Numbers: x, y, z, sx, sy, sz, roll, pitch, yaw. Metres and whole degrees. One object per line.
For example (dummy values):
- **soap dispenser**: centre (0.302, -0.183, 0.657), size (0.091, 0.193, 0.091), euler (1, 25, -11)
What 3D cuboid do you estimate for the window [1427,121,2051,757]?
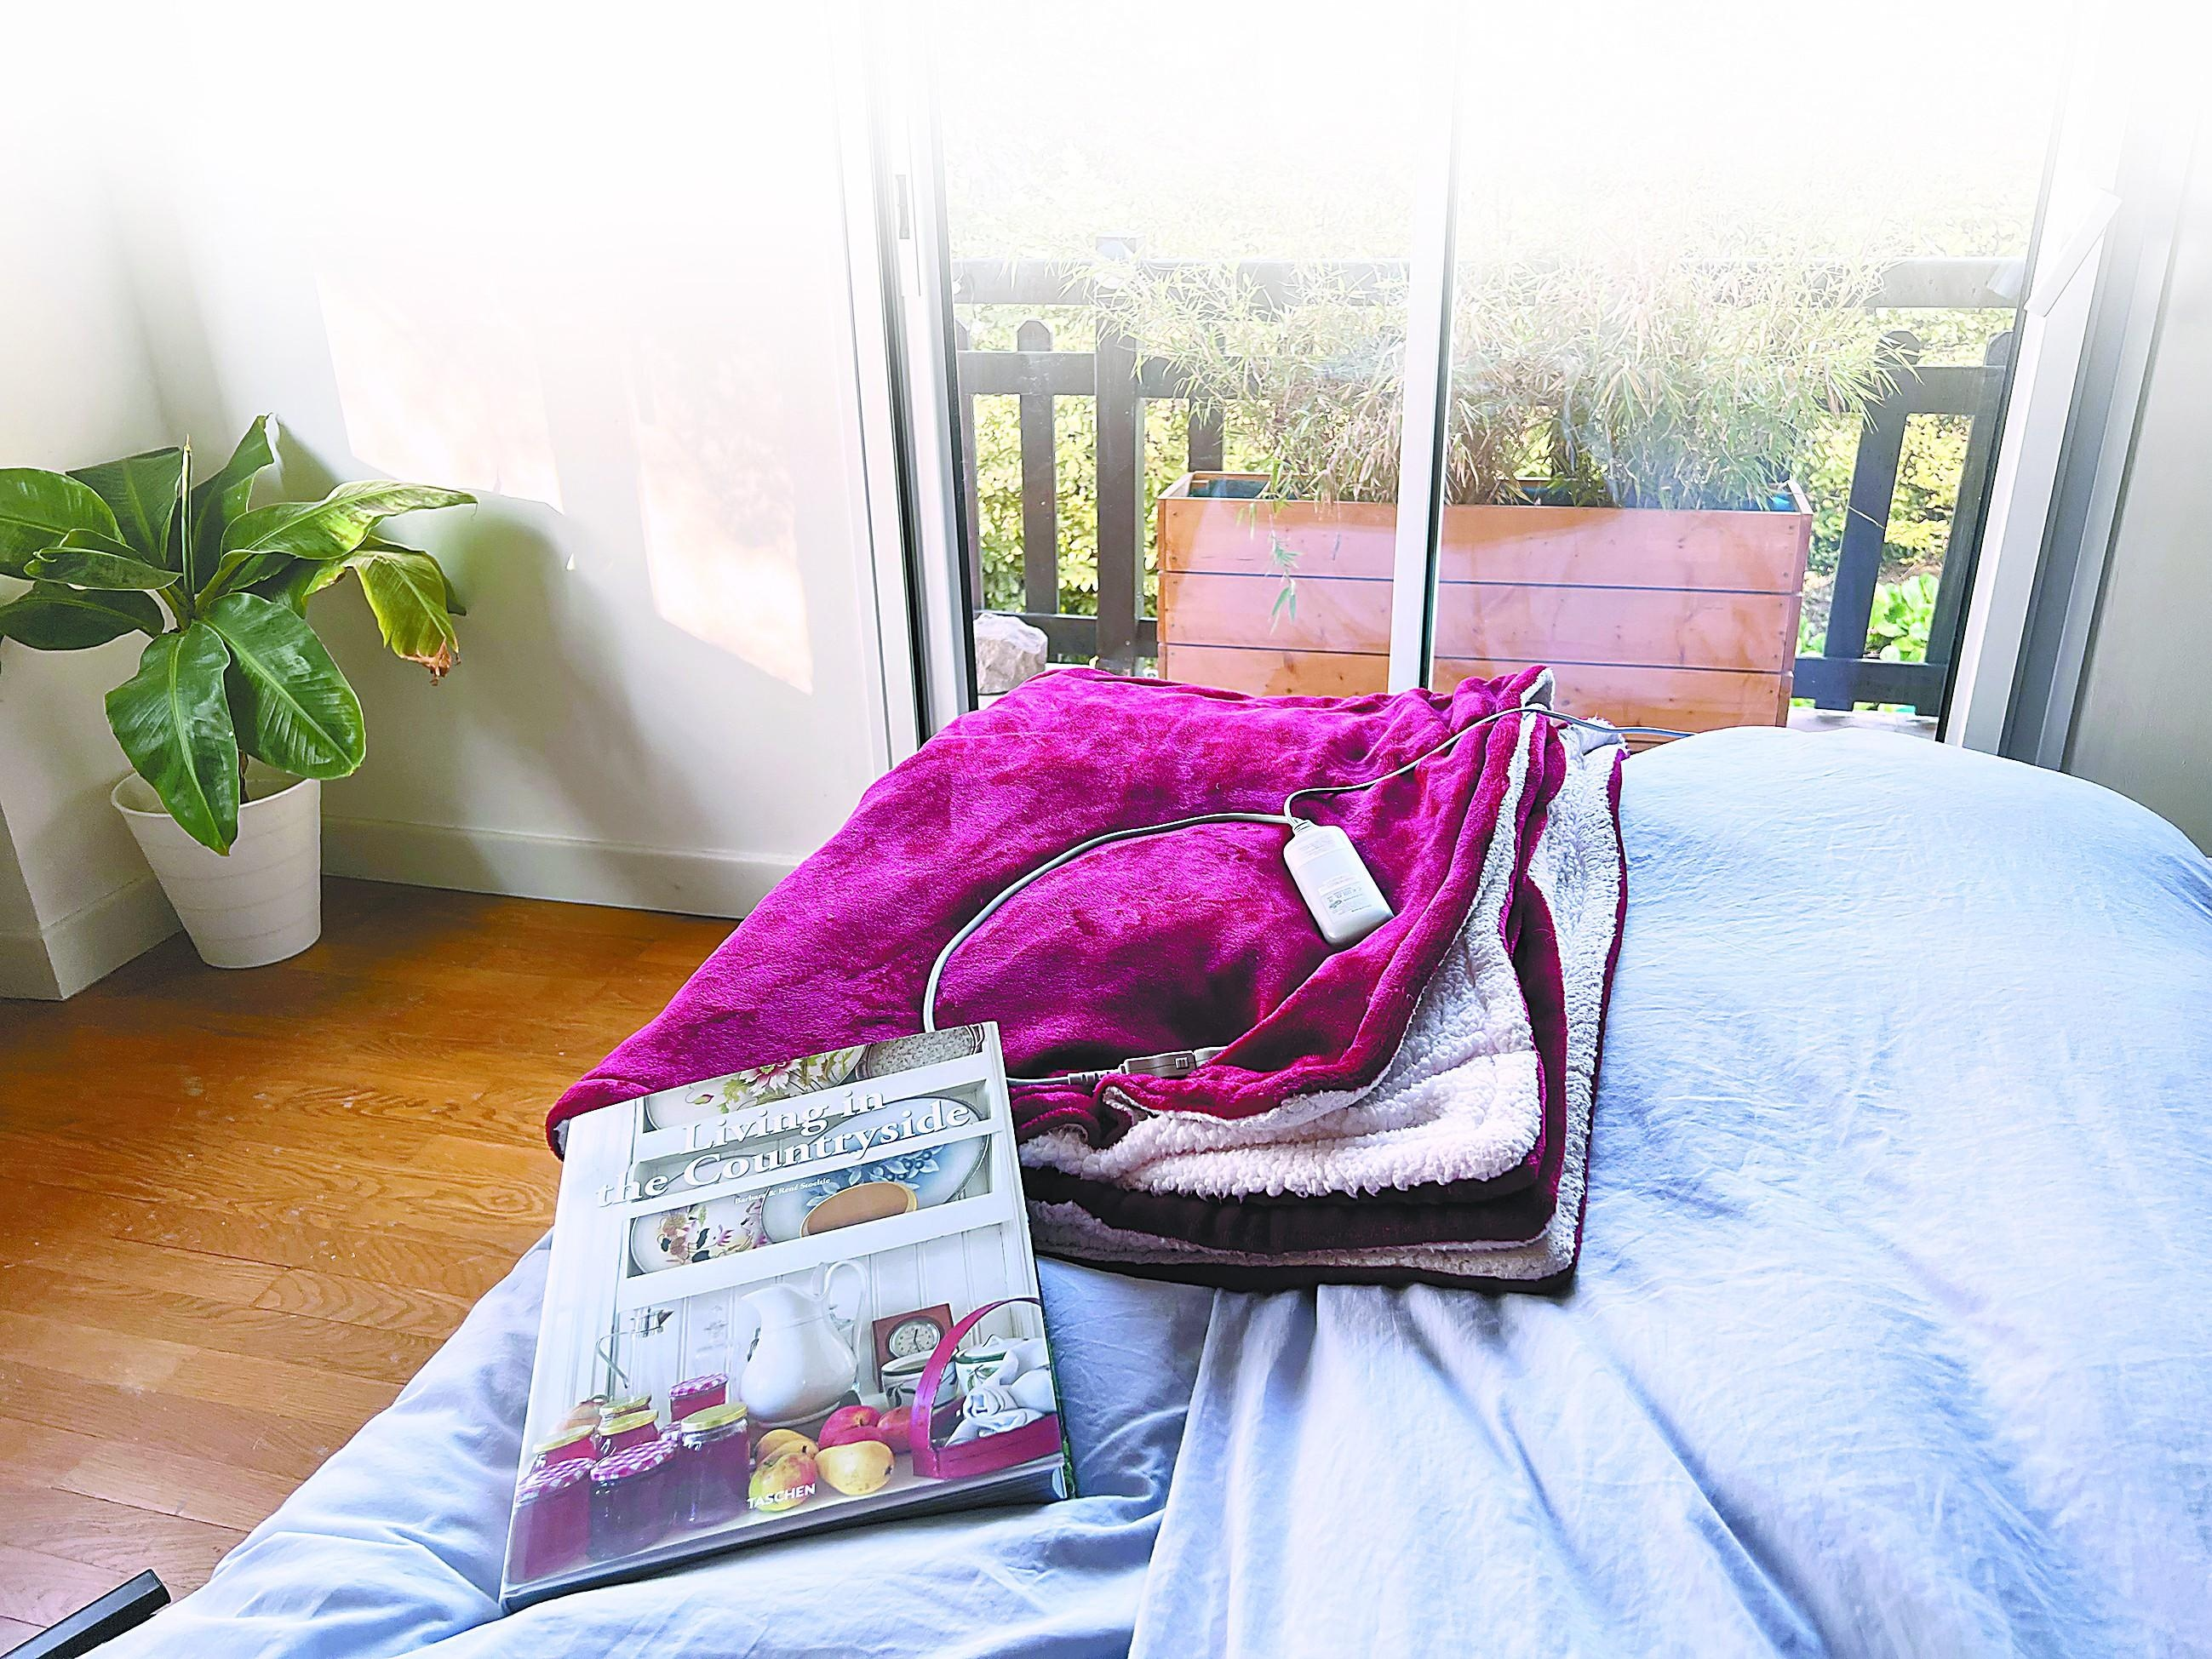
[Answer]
- **window**: centre (0.858, -0.596, 2.473), size (0.716, 0.704, 0.702), euler (0, 30, 10)

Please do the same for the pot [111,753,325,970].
- **pot**: centre (-1.342, 0.066, 2.673), size (0.341, 0.291, 0.311), euler (0, 23, 0)

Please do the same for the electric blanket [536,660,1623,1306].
- **electric blanket**: centre (0.051, 0.117, 1.339), size (0.623, 0.153, 0.618), euler (4, 33, 18)

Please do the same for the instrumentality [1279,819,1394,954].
- **instrumentality**: centre (0.195, 0.043, 1.408), size (0.062, 0.027, 0.151), euler (-22, 41, -1)

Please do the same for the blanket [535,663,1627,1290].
- **blanket**: centre (0.048, 0.119, 1.336), size (0.624, 0.152, 0.616), euler (4, 33, 17)

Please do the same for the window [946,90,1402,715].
- **window**: centre (0.114, -0.634, 2.330), size (0.876, 0.969, 0.265), euler (2, 30, 6)
